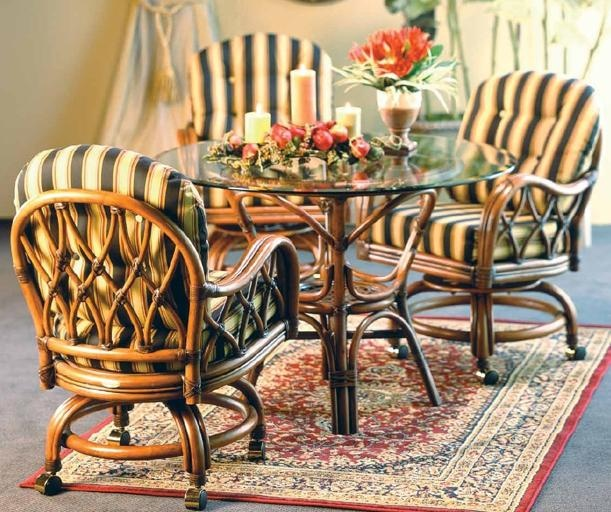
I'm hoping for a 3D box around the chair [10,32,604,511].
[{"bbox_3d":[0.024,-0.018,2.857,1.164,0.730,1.486,17,23,39],"label":"chair"}]
